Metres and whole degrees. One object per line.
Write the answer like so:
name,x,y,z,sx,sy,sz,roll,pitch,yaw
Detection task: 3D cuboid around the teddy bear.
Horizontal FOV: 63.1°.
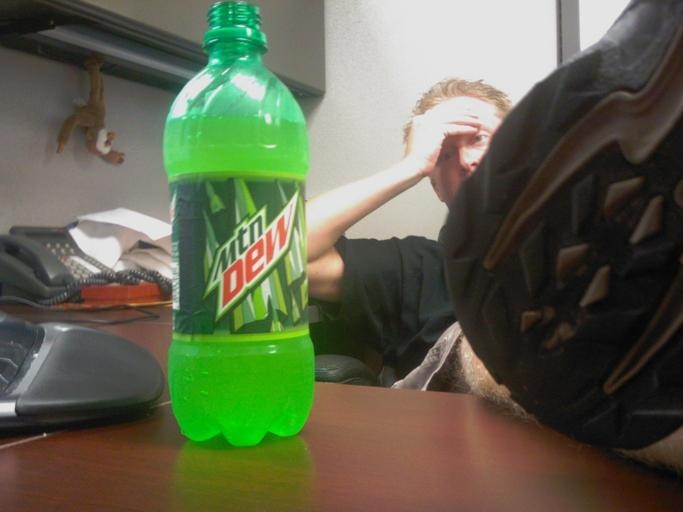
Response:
teddy bear,-0.551,-0.323,1.259,0.089,0.220,0.163,1,4,23
